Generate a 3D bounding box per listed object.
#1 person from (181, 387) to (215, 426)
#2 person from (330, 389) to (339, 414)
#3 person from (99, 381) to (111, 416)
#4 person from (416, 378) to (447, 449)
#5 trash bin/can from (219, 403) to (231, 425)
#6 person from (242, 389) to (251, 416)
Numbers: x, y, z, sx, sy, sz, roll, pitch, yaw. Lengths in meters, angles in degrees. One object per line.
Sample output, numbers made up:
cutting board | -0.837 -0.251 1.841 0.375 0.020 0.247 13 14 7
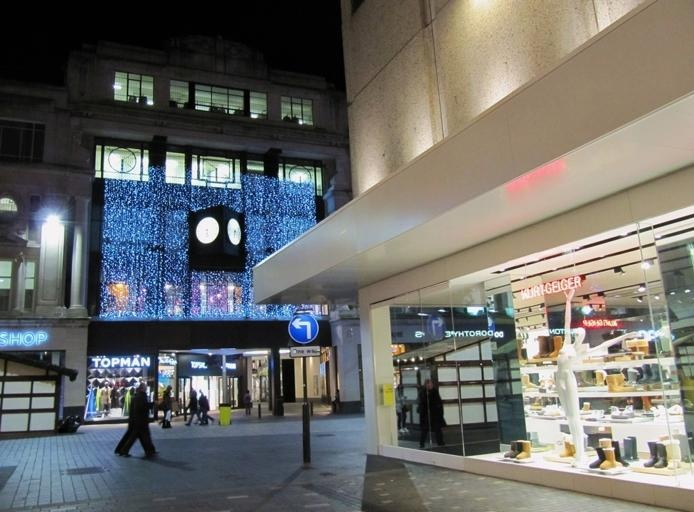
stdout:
person | -7.183 7.283 25.318 0.914 1.554 3.294 1 -13 -16
person | -0.630 8.194 29.664 0.497 1.276 0.792 -2 -13 -2
person | -12.248 7.251 26.433 0.506 1.671 0.312 4 -15 -27
person | 1.813 3.407 11.300 0.190 1.426 0.822 3 -14 -23
trash bin/can | -5.511 7.143 23.553 0.436 0.898 0.609 2 -14 -18
person | -5.529 8.169 29.000 0.302 1.257 1.479 0 -13 -11
